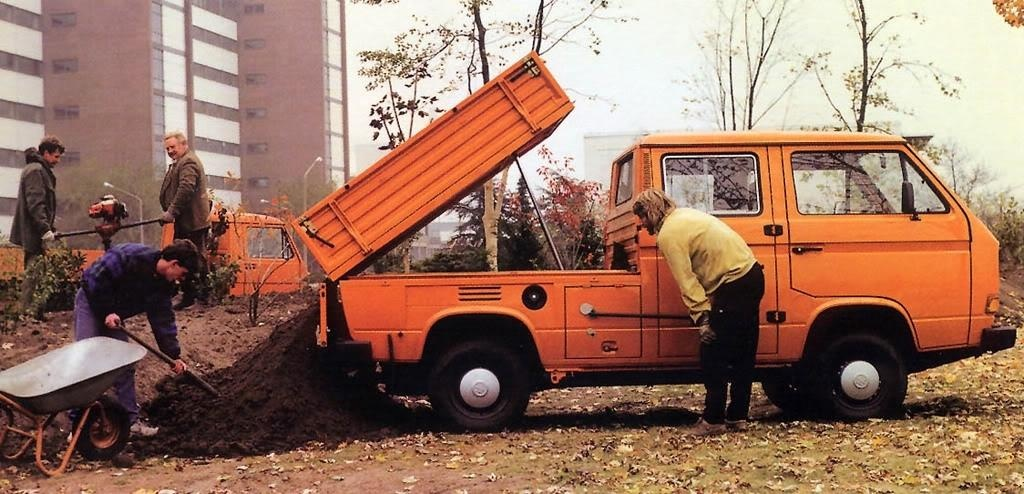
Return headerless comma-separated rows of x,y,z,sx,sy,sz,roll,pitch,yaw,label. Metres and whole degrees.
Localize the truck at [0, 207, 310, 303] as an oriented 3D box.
-10.781,0.139,28.598,10.956,3.872,3.915,0,-2,-20,truck
